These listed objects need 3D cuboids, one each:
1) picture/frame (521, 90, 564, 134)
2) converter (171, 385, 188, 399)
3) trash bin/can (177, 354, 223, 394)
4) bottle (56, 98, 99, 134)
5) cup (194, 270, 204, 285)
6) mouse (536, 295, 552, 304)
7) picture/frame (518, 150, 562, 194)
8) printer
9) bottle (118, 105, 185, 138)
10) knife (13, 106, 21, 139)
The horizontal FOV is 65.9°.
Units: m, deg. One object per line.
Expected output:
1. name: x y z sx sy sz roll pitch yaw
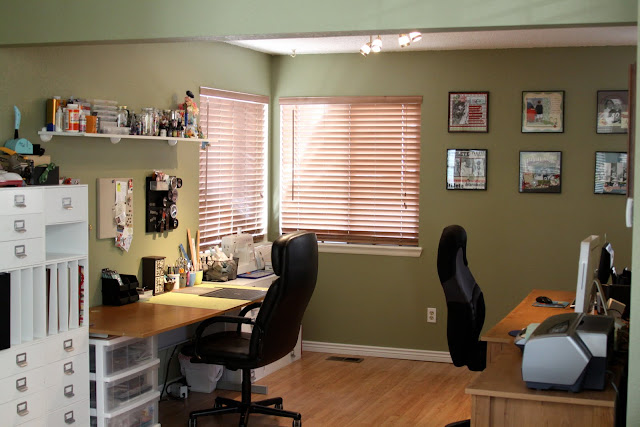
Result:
1. picture/frame: 2.332 -1.054 5.134 0.455 0.454 0.020 1 4 10
2. converter: -1.269 1.609 4.441 0.120 0.104 0.066 2 5 4
3. trash bin/can: -1.084 1.497 4.757 0.485 0.433 0.410 1 1 -6
4. bottle: -1.782 -0.699 3.594 0.158 0.296 0.311 0 0 28
5. cup: -1.135 0.607 4.615 0.092 0.090 0.101 2 -5 -14
6. mouse: 1.878 0.727 4.165 0.068 0.033 0.094 0 3 -31
7. picture/frame: 2.321 -0.429 5.160 0.456 0.476 0.032 1 1 14
8. printer: 1.250 0.698 2.503 0.340 0.251 0.466 1 3 21
9. bottle: -1.443 -0.764 4.164 0.114 0.136 0.379 0 -1 35
10. knife: -2.051 -0.612 3.342 0.041 0.212 0.089 0 6 -27
